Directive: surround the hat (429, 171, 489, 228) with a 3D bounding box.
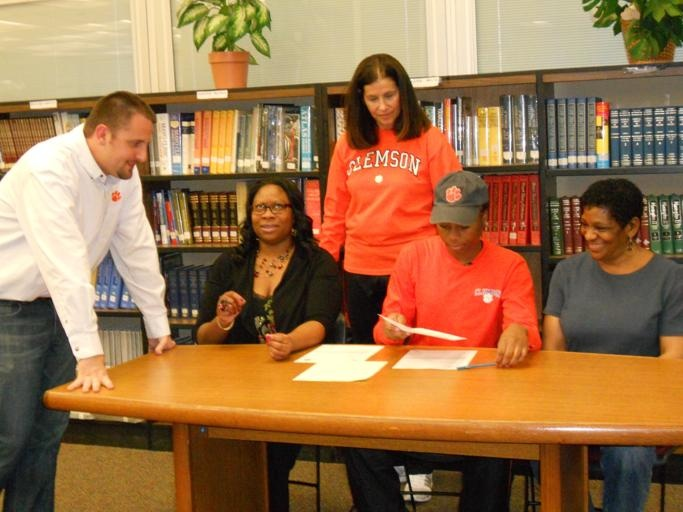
[{"bbox_3d":[0.465,-0.226,2.330,0.170,0.138,0.253,5,38,28],"label":"hat"}]

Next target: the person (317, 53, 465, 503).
[{"bbox_3d":[0.193,0.067,2.867,0.822,1.989,0.554,7,8,30],"label":"person"}]
